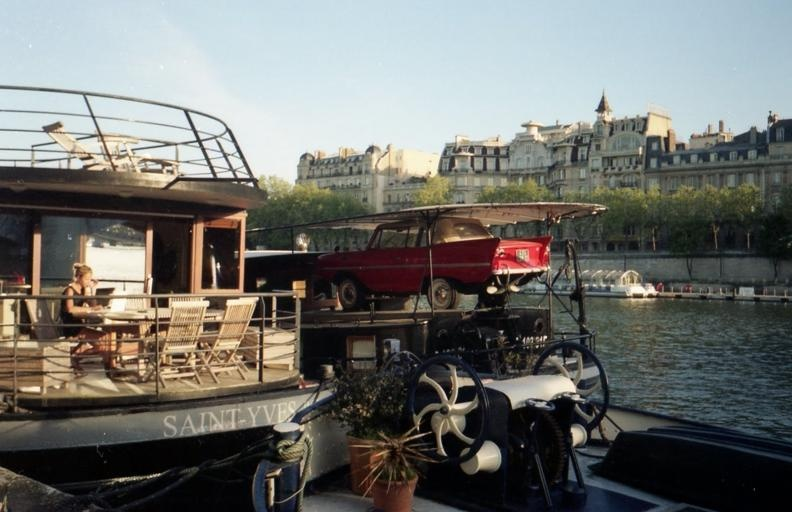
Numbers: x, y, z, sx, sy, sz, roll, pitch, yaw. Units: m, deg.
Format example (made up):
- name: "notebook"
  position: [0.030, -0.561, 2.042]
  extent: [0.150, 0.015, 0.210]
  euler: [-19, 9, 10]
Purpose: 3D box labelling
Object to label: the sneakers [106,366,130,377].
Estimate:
- name: "sneakers"
  position: [-4.378, 1.796, 14.786]
  extent: [0.248, 0.101, 0.151]
  euler: [17, -2, 33]
